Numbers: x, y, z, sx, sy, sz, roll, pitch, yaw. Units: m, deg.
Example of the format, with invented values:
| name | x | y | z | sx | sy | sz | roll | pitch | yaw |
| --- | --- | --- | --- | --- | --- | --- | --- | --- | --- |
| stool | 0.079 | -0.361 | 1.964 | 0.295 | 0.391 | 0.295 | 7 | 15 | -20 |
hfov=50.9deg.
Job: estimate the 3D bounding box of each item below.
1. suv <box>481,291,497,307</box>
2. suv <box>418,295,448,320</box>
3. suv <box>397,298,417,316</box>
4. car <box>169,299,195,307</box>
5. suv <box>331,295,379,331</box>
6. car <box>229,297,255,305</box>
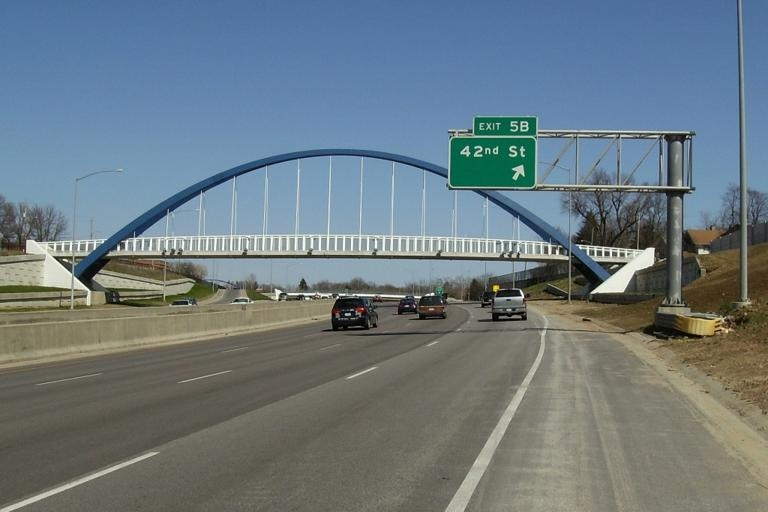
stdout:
| name | x | y | z | sx | sy | sz | roll | pitch | yaw |
| --- | --- | --- | --- | --- | --- | --- | --- | --- | --- |
| suv | 10.704 | 4.566 | 82.333 | 1.674 | 1.630 | 3.320 | 1 | 2 | 6 |
| suv | 3.324 | 3.519 | 55.760 | 1.776 | 1.523 | 2.125 | -1 | 3 | 1 |
| suv | 1.976 | 4.070 | 66.388 | 0.931 | 0.873 | 1.765 | 0 | 6 | 6 |
| car | -19.226 | 4.476 | 77.168 | 1.069 | 0.818 | 2.039 | 1 | 2 | 9 |
| suv | -1.383 | 3.007 | 44.960 | 1.257 | 1.093 | 2.977 | 0 | 1 | 12 |
| car | -16.424 | 5.094 | 92.930 | 2.454 | 1.171 | 1.396 | 4 | -3 | -4 |
